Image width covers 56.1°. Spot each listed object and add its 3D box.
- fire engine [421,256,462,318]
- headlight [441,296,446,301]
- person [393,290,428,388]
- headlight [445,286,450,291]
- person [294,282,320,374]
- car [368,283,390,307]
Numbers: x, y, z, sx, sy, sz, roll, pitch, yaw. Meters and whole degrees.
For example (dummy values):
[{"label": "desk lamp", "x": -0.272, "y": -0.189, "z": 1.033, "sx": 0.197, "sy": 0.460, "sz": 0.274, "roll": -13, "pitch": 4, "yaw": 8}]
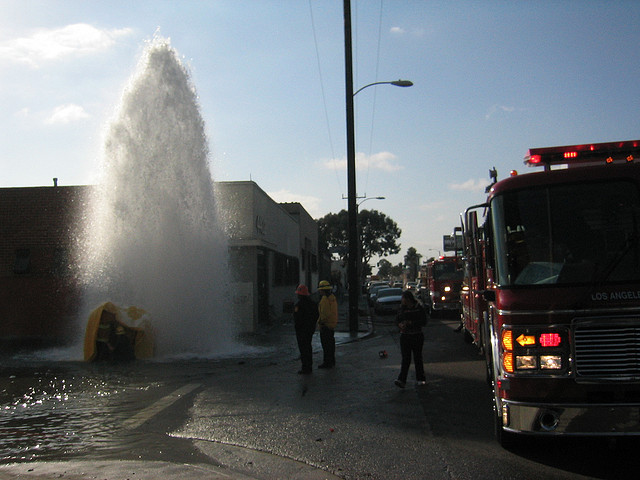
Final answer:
[{"label": "fire engine", "x": 6.286, "y": 2.244, "z": 29.833, "sx": 2.184, "sy": 3.063, "sz": 4.755, "roll": -2, "pitch": -4, "yaw": 0}, {"label": "headlight", "x": 5.655, "y": 2.636, "z": 27.587, "sx": 0.177, "sy": 0.195, "sz": 0.042, "roll": 12, "pitch": 8, "yaw": 42}, {"label": "person", "x": 1.747, "y": 1.836, "z": 11.573, "sx": 0.616, "sy": 1.771, "sz": 1.344, "roll": 0, "pitch": -1, "yaw": 8}, {"label": "headlight", "x": 5.788, "y": 2.205, "z": 27.366, "sx": 0.195, "sy": 0.161, "sz": 0.115, "roll": 0, "pitch": -7, "yaw": 6}, {"label": "person", "x": -0.317, "y": 1.922, "z": 13.172, "sx": 0.519, "sy": 1.823, "sz": 0.824, "roll": 0, "pitch": -1, "yaw": 10}, {"label": "car", "x": 4.173, "y": 3.944, "z": 45.232, "sx": 1.196, "sy": 1.214, "sz": 2.812, "roll": 0, "pitch": -13, "yaw": -4}]
